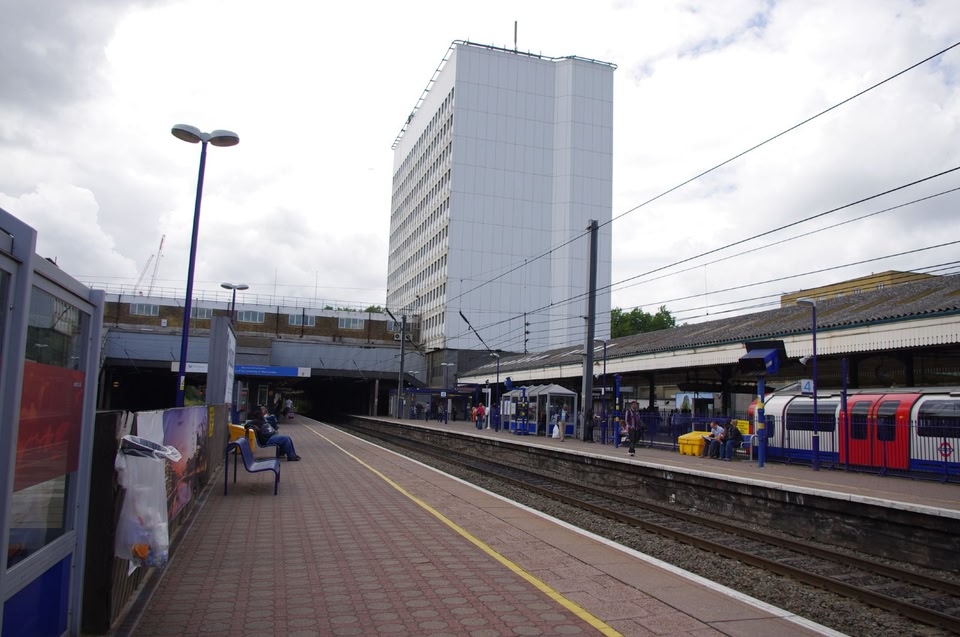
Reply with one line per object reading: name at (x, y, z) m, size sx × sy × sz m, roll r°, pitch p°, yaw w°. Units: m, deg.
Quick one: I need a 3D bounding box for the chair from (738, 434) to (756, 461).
chair at (9.600, 4.668, 27.609) m, size 0.829 × 0.940 × 0.620 m, roll 7°, pitch -10°, yaw -30°

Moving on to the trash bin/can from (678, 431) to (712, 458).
trash bin/can at (7.960, 5.070, 28.893) m, size 0.713 × 0.990 × 1.429 m, roll 7°, pitch -13°, yaw -14°

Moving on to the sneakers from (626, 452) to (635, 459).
sneakers at (5.151, 4.732, 26.308) m, size 0.164 × 0.226 × 0.523 m, roll 0°, pitch -22°, yaw -8°
